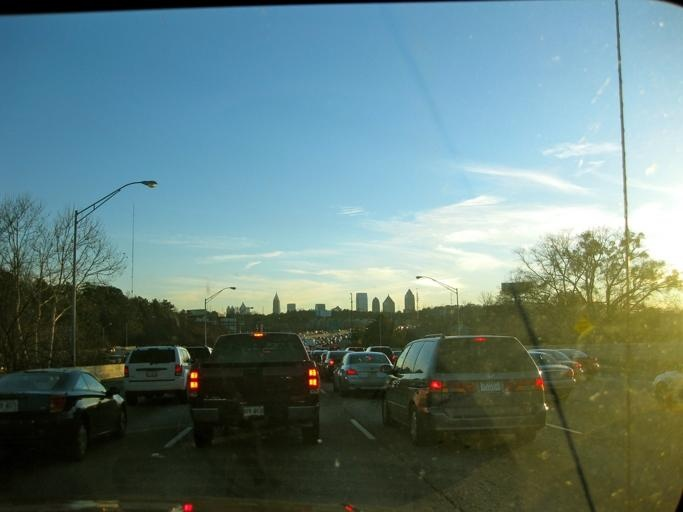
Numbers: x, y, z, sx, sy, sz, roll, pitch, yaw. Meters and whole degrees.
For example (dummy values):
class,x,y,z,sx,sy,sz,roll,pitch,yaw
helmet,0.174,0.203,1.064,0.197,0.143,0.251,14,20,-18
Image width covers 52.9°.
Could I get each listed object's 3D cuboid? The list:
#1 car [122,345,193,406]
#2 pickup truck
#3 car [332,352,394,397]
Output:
class,x,y,z,sx,sy,sz,roll,pitch,yaw
car,-6.090,4.120,23.961,1.998,1.881,4.201,-1,-9,0
pickup truck,-1.908,2.801,15.699,2.625,2.358,5.176,0,-5,-6
car,0.727,4.342,25.626,2.014,1.593,4.783,1,-7,-5
